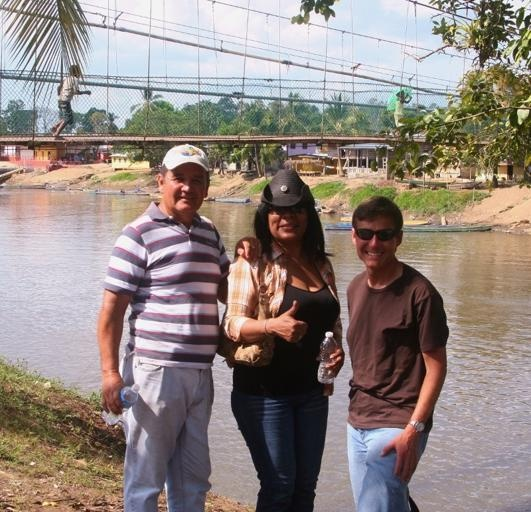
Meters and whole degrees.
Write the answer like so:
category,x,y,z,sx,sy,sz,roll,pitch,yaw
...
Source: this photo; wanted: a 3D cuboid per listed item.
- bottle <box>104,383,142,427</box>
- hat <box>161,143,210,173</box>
category,x,y,z,sx,sy,sz,roll,pitch,yaw
bottle,-0.596,0.625,3.092,0.084,0.081,0.198,17,-45,-28
hat,-0.364,-0.447,3.360,0.135,0.093,0.172,5,-10,-5
